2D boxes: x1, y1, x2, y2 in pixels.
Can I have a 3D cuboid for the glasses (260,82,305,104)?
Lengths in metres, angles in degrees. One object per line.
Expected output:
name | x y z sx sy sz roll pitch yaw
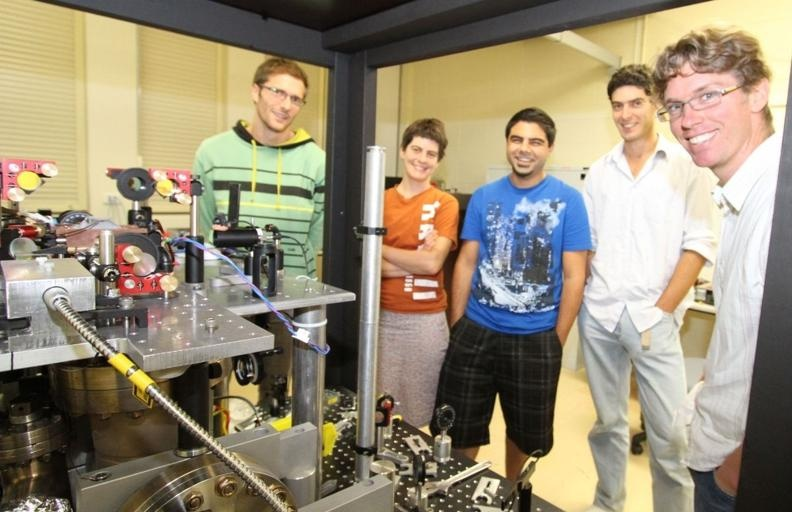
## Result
glasses | -0.576 -0.814 2.923 0.227 0.105 0.136 -2 8 -17

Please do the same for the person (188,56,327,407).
person | -0.694 -0.443 2.966 0.661 1.120 0.434 -2 8 -16

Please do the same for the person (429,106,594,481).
person | 0.593 0.125 2.901 0.720 1.719 0.391 2 8 17
